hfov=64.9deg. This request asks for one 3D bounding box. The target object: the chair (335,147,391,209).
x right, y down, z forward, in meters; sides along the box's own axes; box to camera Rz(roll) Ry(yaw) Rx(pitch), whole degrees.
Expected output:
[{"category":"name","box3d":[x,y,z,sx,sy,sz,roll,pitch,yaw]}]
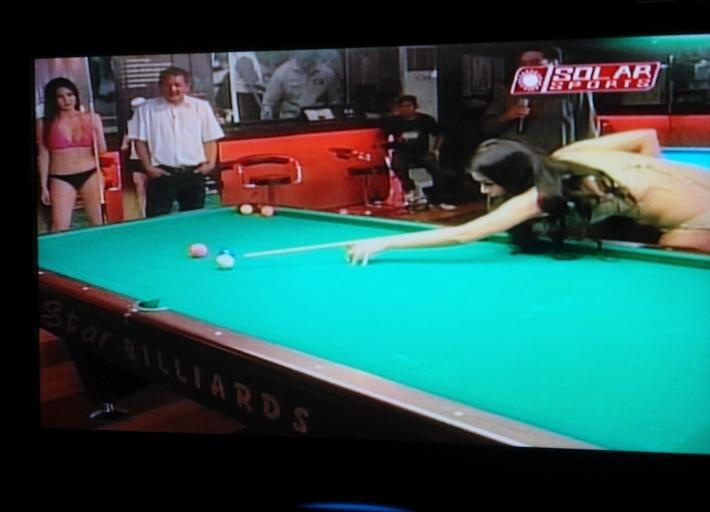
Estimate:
[{"category":"chair","box3d":[0.067,-0.349,2.546,0.256,0.243,0.264,5,15,29]}]

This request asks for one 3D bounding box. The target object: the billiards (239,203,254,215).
[{"category":"billiards","box3d":[-0.482,-0.205,2.473,0.065,0.037,0.061,3,-1,-32]}]

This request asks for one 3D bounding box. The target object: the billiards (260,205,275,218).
[{"category":"billiards","box3d":[-0.387,-0.195,2.473,0.053,0.041,0.059,-3,-4,-7]}]

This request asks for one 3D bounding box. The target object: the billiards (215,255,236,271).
[{"category":"billiards","box3d":[-0.581,0.027,2.511,0.078,0.048,0.074,-10,23,-30]}]
